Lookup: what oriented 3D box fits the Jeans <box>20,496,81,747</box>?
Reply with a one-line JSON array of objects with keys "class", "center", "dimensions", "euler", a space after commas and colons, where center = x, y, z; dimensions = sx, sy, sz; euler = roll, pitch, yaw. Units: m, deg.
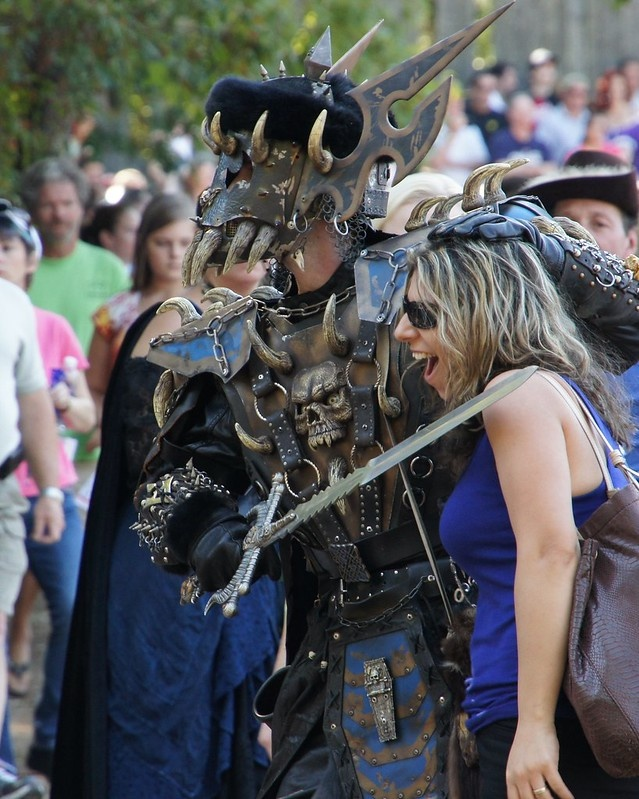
[{"class": "Jeans", "center": [-0.779, 0.631, 4.465], "dimensions": [0.185, 0.665, 0.205], "euler": [3, 7, 9]}]
